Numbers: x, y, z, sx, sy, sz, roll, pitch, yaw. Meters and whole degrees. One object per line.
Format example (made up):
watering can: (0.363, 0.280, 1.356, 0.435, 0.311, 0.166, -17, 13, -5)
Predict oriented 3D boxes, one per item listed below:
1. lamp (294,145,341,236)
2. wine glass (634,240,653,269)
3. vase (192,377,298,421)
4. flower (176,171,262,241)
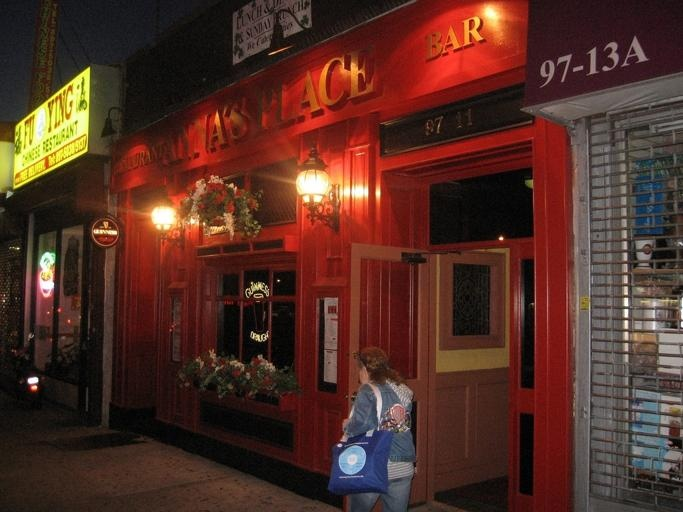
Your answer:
lamp: (-0.264, -0.788, 7.264, 0.307, 0.976, 0.492, -4, -5, 44)
wine glass: (2.575, -0.012, 5.176, 0.128, 0.221, 0.187, 10, -10, -14)
vase: (-1.264, 1.954, 8.652, 1.671, 0.419, 0.304, -5, -16, 45)
flower: (-1.729, -0.696, 8.737, 1.224, 0.869, 0.528, -2, -3, 22)
